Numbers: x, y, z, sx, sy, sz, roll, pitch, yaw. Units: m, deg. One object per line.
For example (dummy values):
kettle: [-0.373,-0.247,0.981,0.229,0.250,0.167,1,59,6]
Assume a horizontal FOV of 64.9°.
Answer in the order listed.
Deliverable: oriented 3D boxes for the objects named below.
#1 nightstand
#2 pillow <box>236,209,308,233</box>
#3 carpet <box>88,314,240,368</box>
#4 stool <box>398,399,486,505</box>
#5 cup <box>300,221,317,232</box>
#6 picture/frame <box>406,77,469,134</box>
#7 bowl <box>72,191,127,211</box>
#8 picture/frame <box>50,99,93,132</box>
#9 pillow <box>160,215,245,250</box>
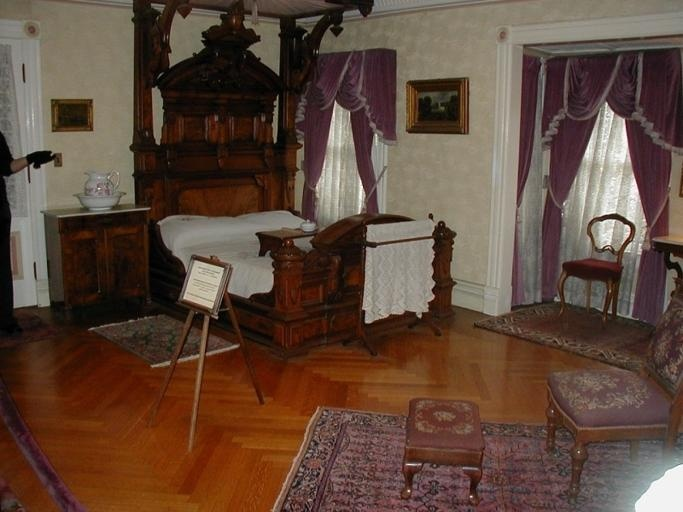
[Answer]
nightstand: [-2.712,0.072,5.894,1.110,1.305,0.792,-9,16,-40]
pillow: [-0.856,-0.455,6.783,0.569,0.130,0.454,-8,16,-32]
carpet: [-1.849,0.782,5.493,1.709,0.026,0.896,-7,15,46]
stool: [0.579,1.199,3.197,0.481,0.311,0.597,2,18,8]
cup: [-0.350,-0.314,5.568,0.139,0.080,0.111,4,10,21]
picture/frame: [1.177,-1.814,6.431,0.751,0.562,0.049,8,15,37]
bowl: [-2.678,-0.612,5.968,0.452,0.164,0.367,-5,15,-24]
picture/frame: [-3.084,-1.595,6.085,0.392,0.320,0.031,-7,11,-39]
pillow: [-1.659,-0.279,6.327,0.935,0.306,0.555,-4,15,-19]
